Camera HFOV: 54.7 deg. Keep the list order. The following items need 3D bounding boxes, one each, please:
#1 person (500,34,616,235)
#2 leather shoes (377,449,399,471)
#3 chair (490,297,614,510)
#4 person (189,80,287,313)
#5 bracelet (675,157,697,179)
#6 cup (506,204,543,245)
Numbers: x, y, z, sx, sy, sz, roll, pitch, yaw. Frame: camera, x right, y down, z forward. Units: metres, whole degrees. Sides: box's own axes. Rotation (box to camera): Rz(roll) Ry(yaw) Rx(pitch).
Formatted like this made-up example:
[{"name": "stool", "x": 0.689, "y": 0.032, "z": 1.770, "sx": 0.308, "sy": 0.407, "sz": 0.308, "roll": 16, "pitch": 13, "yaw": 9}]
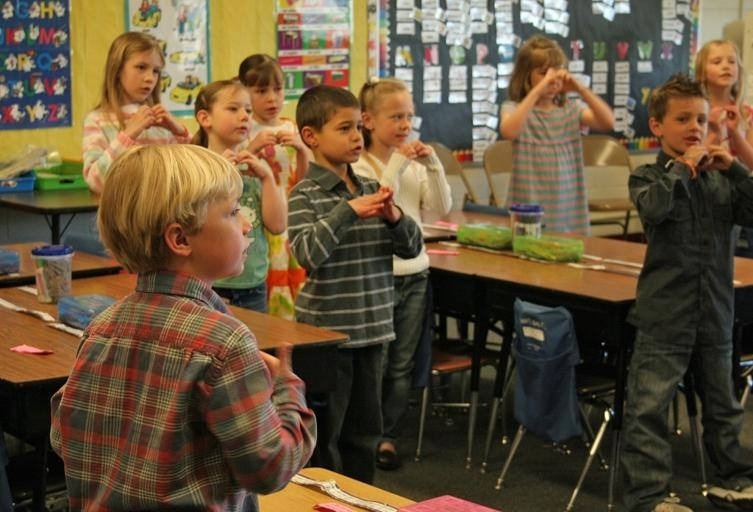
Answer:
[{"name": "person", "x": 1.027, "y": -0.676, "z": 4.159, "sx": 0.652, "sy": 1.132, "sz": 0.449, "roll": -4, "pitch": 13, "yaw": -9}, {"name": "leather shoes", "x": 0.049, "y": 0.909, "z": 3.257, "sx": 0.053, "sy": 0.057, "sz": 0.142, "roll": 1, "pitch": -4, "yaw": -27}, {"name": "chair", "x": 0.770, "y": 0.563, "z": 3.122, "sx": 0.481, "sy": 0.830, "sz": 0.558, "roll": 2, "pitch": 13, "yaw": 17}, {"name": "person", "x": -0.572, "y": -0.037, "z": 2.990, "sx": 0.386, "sy": 1.328, "sz": 0.359, "roll": -4, "pitch": 9, "yaw": -22}, {"name": "bracelet", "x": 1.167, "y": -0.321, "z": 2.742, "sx": 0.082, "sy": 0.032, "sz": 0.058, "roll": 34, "pitch": 23, "yaw": -37}, {"name": "cup", "x": 0.709, "y": -0.153, "z": 3.570, "sx": 0.166, "sy": 0.192, "sz": 0.162, "roll": 0, "pitch": 4, "yaw": 0}]
